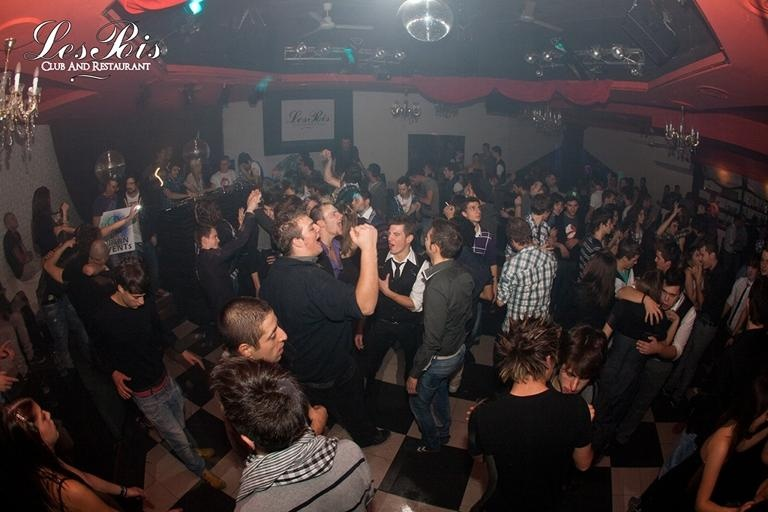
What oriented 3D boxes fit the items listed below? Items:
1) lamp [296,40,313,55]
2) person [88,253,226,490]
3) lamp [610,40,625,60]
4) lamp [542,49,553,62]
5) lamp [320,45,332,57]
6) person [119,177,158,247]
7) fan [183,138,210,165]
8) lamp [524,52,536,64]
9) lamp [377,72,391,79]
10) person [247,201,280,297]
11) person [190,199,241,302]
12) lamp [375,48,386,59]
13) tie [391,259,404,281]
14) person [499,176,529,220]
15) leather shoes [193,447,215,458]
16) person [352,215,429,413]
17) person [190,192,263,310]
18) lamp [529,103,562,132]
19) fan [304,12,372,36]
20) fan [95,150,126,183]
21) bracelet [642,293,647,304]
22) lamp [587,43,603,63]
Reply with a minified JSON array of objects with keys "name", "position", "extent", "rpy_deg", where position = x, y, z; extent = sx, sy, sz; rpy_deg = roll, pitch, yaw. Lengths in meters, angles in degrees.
[{"name":"lamp","position":[-1.089,-2.807,7.008],"extent":[0.173,0.129,0.062],"rpy_deg":[-21,-12,-17]},{"name":"person","position":[-2.135,1.139,4.869],"extent":[0.794,2.079,0.882],"rpy_deg":[-10,41,8]},{"name":"lamp","position":[2.735,-2.388,6.085],"extent":[0.134,0.170,0.173],"rpy_deg":[12,33,34]},{"name":"lamp","position":[2.126,-2.603,6.768],"extent":[0.140,0.130,0.139],"rpy_deg":[9,20,27]},{"name":"lamp","position":[-0.800,-2.798,7.066],"extent":[0.112,0.107,0.049],"rpy_deg":[-7,28,-11]},{"name":"person","position":[-3.041,-0.556,6.432],"extent":[0.305,0.821,0.511],"rpy_deg":[-9,20,-26]},{"name":"fan","position":[-2.829,-1.575,7.751],"extent":[0.343,0.316,0.338],"rpy_deg":[-6,10,-44]},{"name":"lamp","position":[1.960,-2.663,6.991],"extent":[0.140,0.120,0.265],"rpy_deg":[4,18,13]},{"name":"lamp","position":[-0.008,-2.696,7.777],"extent":[0.189,0.099,0.124],"rpy_deg":[-5,14,-17]},{"name":"person","position":[-1.292,-0.116,5.540],"extent":[0.378,0.364,1.133],"rpy_deg":[2,-27,-14]},{"name":"person","position":[-1.893,-0.039,5.765],"extent":[0.445,0.383,1.177],"rpy_deg":[-21,-22,-19]},{"name":"lamp","position":[-0.056,-2.781,7.137],"extent":[0.142,0.126,0.034],"rpy_deg":[-10,15,-2]},{"name":"tie","position":[0.122,0.113,4.888],"extent":[0.127,0.166,0.040],"rpy_deg":[9,-1,15]},{"name":"person","position":[2.085,-0.931,8.307],"extent":[0.429,0.557,2.115],"rpy_deg":[4,18,13]},{"name":"leather shoes","position":[-1.668,1.828,4.871],"extent":[0.256,0.082,0.169],"rpy_deg":[0,-19,-8]},{"name":"person","position":[0.097,0.664,5.104],"extent":[0.667,2.013,0.573],"rpy_deg":[2,21,-1]},{"name":"person","position":[-1.752,-0.025,5.748],"extent":[0.533,0.379,1.404],"rpy_deg":[-22,-19,-27]},{"name":"lamp","position":[2.833,-2.367,9.043],"extent":[0.591,0.210,0.595],"rpy_deg":[24,44,35]},{"name":"fan","position":[-0.584,-2.950,6.593],"extent":[0.554,0.186,0.840],"rpy_deg":[14,22,37]},{"name":"fan","position":[-3.270,-1.080,6.167],"extent":[0.137,0.334,0.482],"rpy_deg":[2,18,9]},{"name":"bracelet","position":[2.205,0.352,4.421],"extent":[0.021,0.058,0.051],"rpy_deg":[14,-16,4]},{"name":"lamp","position":[2.576,-2.482,6.383],"extent":[0.174,0.168,0.076],"rpy_deg":[-19,16,-21]}]
